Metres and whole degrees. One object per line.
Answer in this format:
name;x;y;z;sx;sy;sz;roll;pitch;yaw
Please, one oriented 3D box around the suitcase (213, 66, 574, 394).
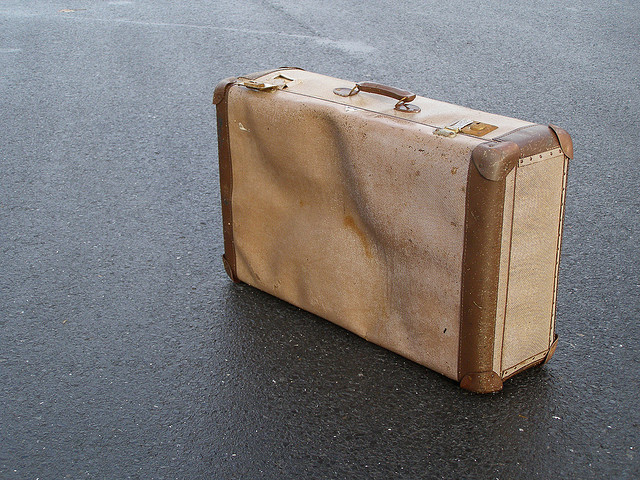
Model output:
suitcase;0.252;-0.136;3.145;0.606;1.080;1.614;-22;31;-39
